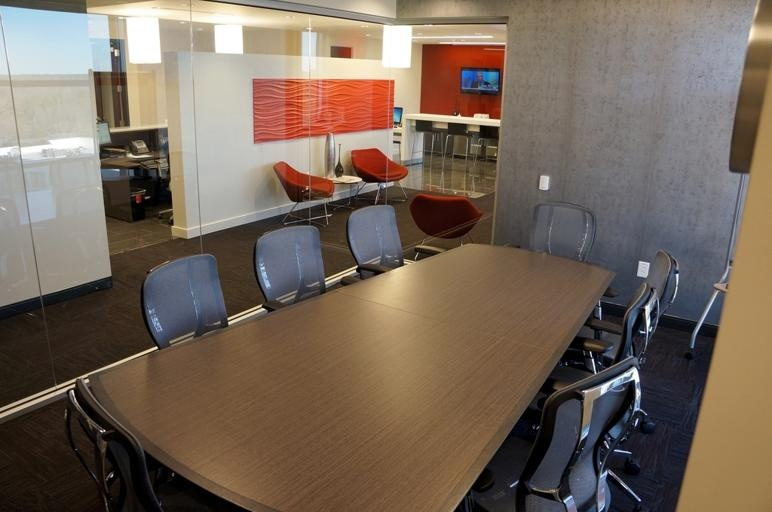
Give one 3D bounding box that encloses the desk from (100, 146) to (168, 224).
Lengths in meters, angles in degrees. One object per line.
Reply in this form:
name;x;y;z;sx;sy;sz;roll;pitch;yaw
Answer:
desk;-1.963;-0.568;4.008;0.473;0.464;0.477;20;27;39
